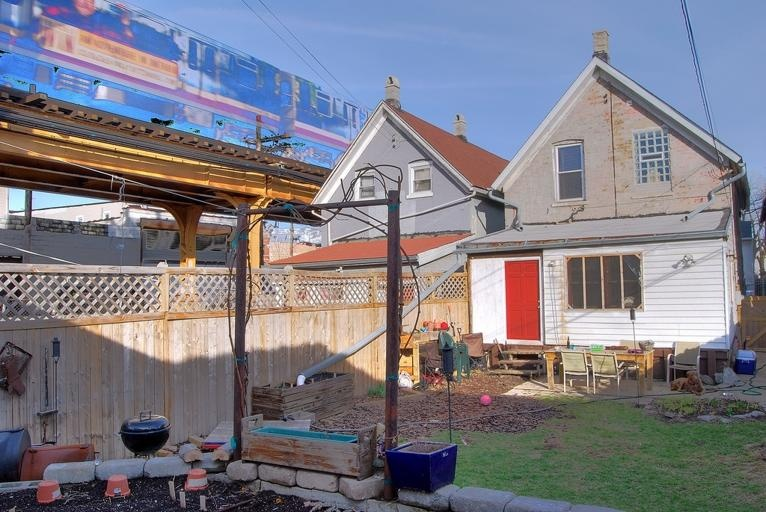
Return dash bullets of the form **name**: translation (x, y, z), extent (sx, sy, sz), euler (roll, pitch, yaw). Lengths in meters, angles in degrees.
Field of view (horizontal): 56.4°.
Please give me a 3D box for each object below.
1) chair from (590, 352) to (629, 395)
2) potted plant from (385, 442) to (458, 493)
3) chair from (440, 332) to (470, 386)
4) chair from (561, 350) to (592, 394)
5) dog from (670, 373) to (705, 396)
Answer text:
- **chair**: translation (5.722, 2.878, 18.286), extent (0.846, 1.090, 0.933), euler (3, 13, 37)
- **potted plant**: translation (0.675, 3.657, 12.464), extent (1.237, 0.802, 0.574), euler (-1, -9, 1)
- **chair**: translation (1.968, 2.652, 19.728), extent (0.881, 1.265, 0.828), euler (-6, 2, -43)
- **chair**: translation (4.869, 2.885, 18.081), extent (0.713, 1.035, 0.785), euler (-2, -8, 15)
- **dog**: translation (7.708, 3.166, 18.056), extent (0.430, 0.563, 0.825), euler (9, -13, -43)
